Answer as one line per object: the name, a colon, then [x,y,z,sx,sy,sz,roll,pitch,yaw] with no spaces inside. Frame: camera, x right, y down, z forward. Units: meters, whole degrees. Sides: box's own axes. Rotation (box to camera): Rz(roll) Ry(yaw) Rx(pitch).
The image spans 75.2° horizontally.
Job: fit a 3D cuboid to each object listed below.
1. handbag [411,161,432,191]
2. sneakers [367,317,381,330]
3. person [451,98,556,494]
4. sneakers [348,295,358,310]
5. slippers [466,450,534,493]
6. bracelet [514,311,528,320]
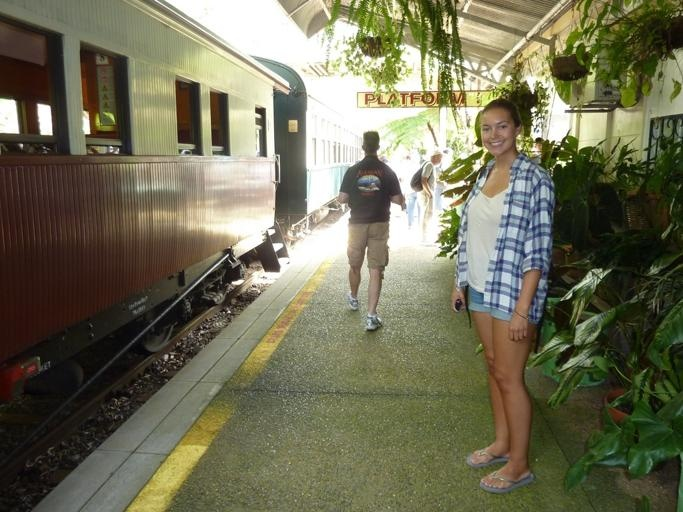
handbag: [1.673,-1.671,9.278,0.430,0.576,0.562,2,12,14]
sneakers: [0.364,0.752,5.020,0.088,0.110,0.217,3,19,18]
person: [0.901,0.236,2.563,0.367,2.197,0.558,-6,12,-27]
sneakers: [0.152,0.600,5.632,0.075,0.098,0.220,1,19,-1]
slippers: [0.927,1.254,2.593,0.159,0.049,0.226,-4,10,-2]
bracelet: [0.923,0.305,2.283,0.045,0.017,0.042,32,10,11]
